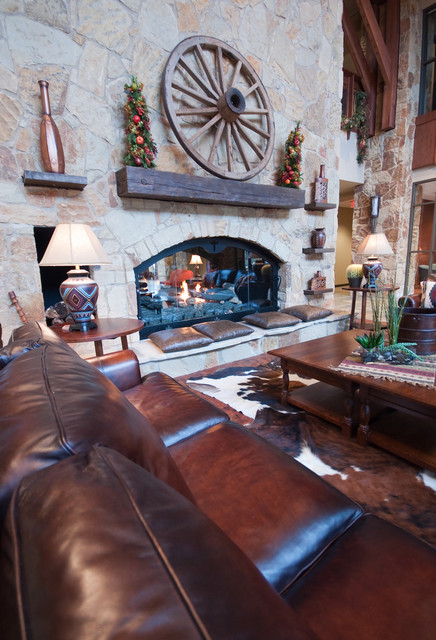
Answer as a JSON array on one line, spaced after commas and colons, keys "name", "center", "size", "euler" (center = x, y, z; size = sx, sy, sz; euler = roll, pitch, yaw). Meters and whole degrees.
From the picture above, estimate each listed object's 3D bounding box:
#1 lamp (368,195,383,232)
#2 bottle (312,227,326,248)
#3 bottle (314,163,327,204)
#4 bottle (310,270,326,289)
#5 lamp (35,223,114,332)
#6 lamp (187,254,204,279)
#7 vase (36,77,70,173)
[{"name": "lamp", "center": [2.550, -1.738, 6.572], "size": [0.172, 0.576, 0.277], "euler": [4, 12, 19]}, {"name": "bottle", "center": [1.037, -0.847, 4.179], "size": [0.141, 0.217, 0.174], "euler": [2, 11, 11]}, {"name": "bottle", "center": [1.037, -1.359, 4.098], "size": [0.131, 0.389, 0.281], "euler": [2, 11, 12]}, {"name": "bottle", "center": [1.052, -0.429, 4.288], "size": [0.206, 0.183, 0.063], "euler": [-7, 10, -38]}, {"name": "lamp", "center": [-0.782, -0.237, 2.212], "size": [0.319, 0.559, 0.540], "euler": [-4, 12, -21]}, {"name": "lamp", "center": [-0.183, -0.468, 3.525], "size": [0.045, 0.220, 0.182], "euler": [6, 13, 29]}, {"name": "vase", "center": [-0.952, -1.086, 2.296], "size": [0.114, 0.470, 0.116], "euler": [-5, 12, -21]}]
